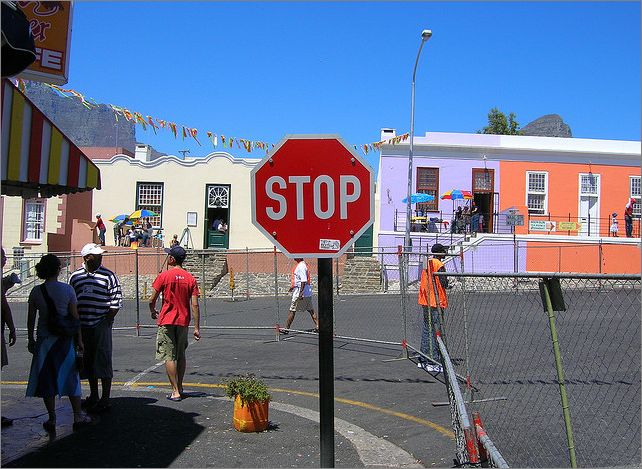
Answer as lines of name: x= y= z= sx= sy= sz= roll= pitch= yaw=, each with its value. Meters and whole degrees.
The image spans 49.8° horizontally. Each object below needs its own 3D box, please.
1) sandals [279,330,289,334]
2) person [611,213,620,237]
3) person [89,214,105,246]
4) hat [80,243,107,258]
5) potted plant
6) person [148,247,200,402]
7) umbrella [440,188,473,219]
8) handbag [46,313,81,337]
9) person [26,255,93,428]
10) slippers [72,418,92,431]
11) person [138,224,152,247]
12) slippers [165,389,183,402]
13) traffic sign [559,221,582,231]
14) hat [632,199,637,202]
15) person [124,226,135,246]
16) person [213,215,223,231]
sandals: x=-0.853 y=2.317 z=16.284 sx=0.109 sy=0.057 sz=0.154 roll=0 pitch=-2 yaw=18
person: x=14.614 y=-0.459 z=34.274 sx=0.365 sy=1.201 sz=1.319 roll=0 pitch=-3 yaw=24
person: x=-10.099 y=-0.215 z=31.525 sx=0.514 sy=1.519 sz=2.200 roll=2 pitch=-3 yaw=-18
hat: x=-3.324 y=0.240 z=10.039 sx=0.253 sy=0.147 sz=0.193 roll=-2 pitch=1 yaw=-7
potted plant: x=-0.976 y=2.293 z=9.435 sx=0.752 sy=0.846 sz=0.643 roll=0 pitch=-5 yaw=-7
person: x=-2.262 y=1.356 z=10.724 sx=0.751 sy=2.349 sz=0.803 roll=1 pitch=-3 yaw=-12
umbrella: x=6.551 y=-1.420 z=33.235 sx=1.341 sy=0.913 sz=1.358 roll=1 pitch=-1 yaw=-22
handbag: x=-3.425 y=1.227 z=9.219 sx=0.289 sy=0.320 sz=0.284 roll=-4 pitch=-1 yaw=9
person: x=-3.531 y=1.433 z=9.316 sx=0.807 sy=2.296 sz=0.484 roll=2 pitch=-3 yaw=-20
slippers: x=-3.180 y=2.547 z=9.221 sx=0.165 sy=0.128 sz=0.253 roll=-1 pitch=-3 yaw=33
person: x=-8.013 y=0.069 z=31.522 sx=0.618 sy=0.908 sz=1.601 roll=-1 pitch=12 yaw=-9
slippers: x=-2.223 y=2.477 z=10.507 sx=0.256 sy=0.108 sz=0.335 roll=1 pitch=-3 yaw=-1
traffic sign: x=12.334 y=-0.350 z=34.109 sx=1.329 sy=0.490 sz=0.237 roll=2 pitch=-3 yaw=-15
hat: x=15.575 y=-1.666 z=34.340 sx=0.255 sy=0.136 sz=0.374 roll=1 pitch=-1 yaw=7
person: x=-8.689 y=0.107 z=31.657 sx=0.382 sy=0.868 sz=1.234 roll=2 pitch=-3 yaw=-22
person: x=-4.981 y=-0.531 z=33.614 sx=0.457 sy=0.658 sz=0.812 roll=8 pitch=8 yaw=-8
